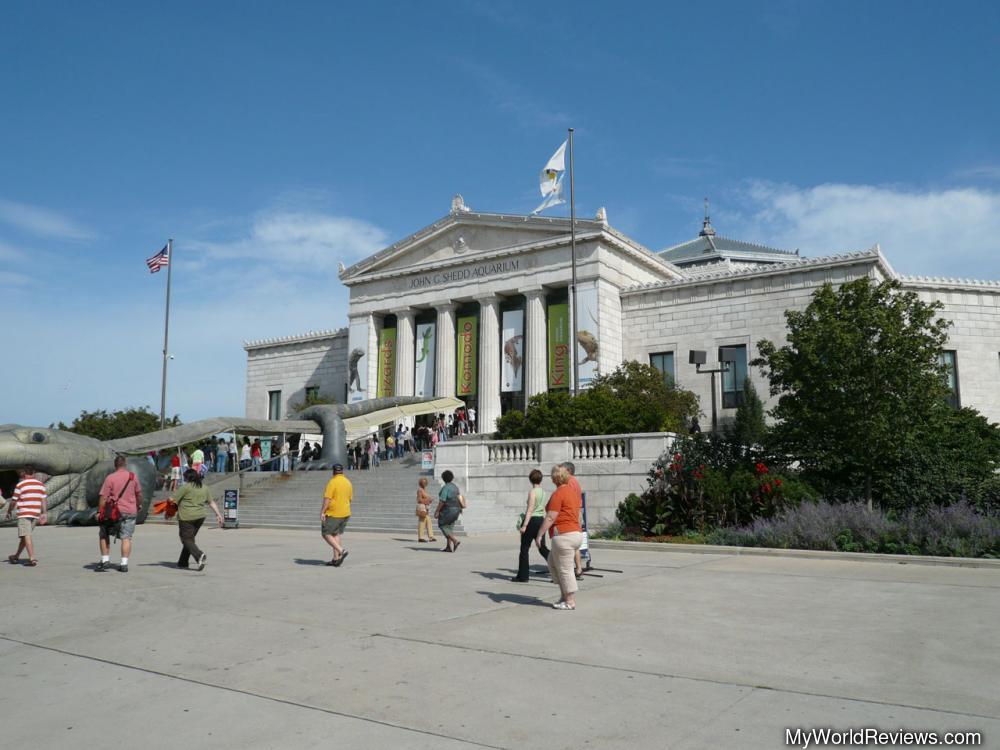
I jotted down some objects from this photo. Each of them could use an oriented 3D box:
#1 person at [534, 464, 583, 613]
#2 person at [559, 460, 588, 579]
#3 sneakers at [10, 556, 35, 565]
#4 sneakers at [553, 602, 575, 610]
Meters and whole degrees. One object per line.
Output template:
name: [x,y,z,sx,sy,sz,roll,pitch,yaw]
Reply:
person: [0.920,2.312,13.041,0.495,1.982,0.618,-3,-5,2]
person: [1.218,2.652,15.837,0.572,2.317,0.584,-3,1,-10]
sneakers: [-9.192,3.553,17.400,0.499,0.221,0.157,-9,-14,23]
sneakers: [0.896,3.252,12.865,0.290,0.131,0.117,-3,-6,41]
